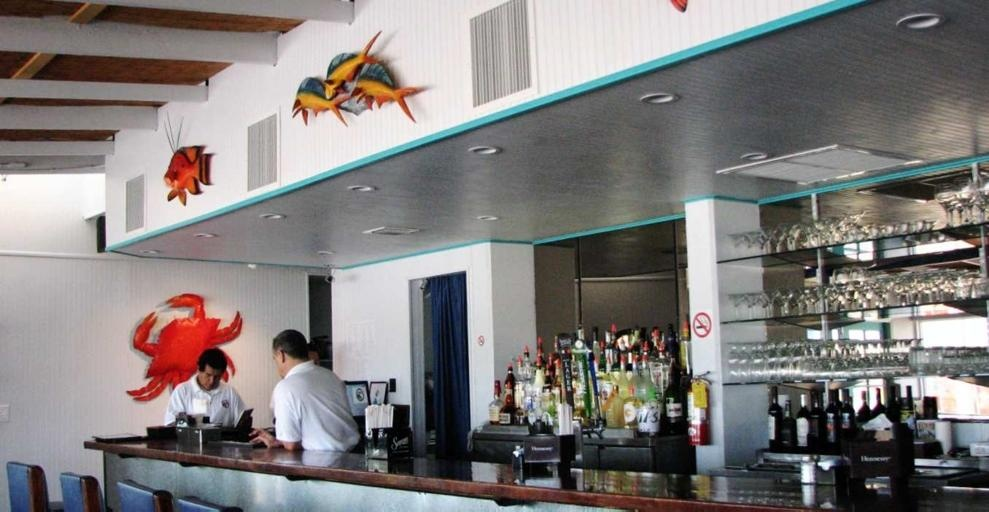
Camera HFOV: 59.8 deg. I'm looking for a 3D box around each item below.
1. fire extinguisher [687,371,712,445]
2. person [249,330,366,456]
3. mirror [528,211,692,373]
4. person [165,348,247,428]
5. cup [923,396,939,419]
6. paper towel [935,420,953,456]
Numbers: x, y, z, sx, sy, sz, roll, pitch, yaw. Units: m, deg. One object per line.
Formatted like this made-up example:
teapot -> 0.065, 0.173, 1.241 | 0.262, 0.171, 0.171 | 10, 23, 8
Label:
fire extinguisher -> 2.008, 1.501, 8.406 | 0.261, 0.669, 0.203 | -1, -12, -6
person -> -1.847, 1.344, 8.467 | 1.157, 1.155, 0.904 | -12, 2, 26
mirror -> 1.347, 0.405, 9.532 | 1.936, 1.405, 0.684 | -4, -4, 43
person -> -3.269, 1.513, 9.838 | 0.833, 0.858, 1.323 | 2, -11, -19
cup -> 4.037, 1.410, 7.992 | 0.135, 0.213, 0.063 | -4, -12, 10
paper towel -> 4.144, 1.663, 7.942 | 0.150, 0.290, 0.088 | -5, -12, 11
